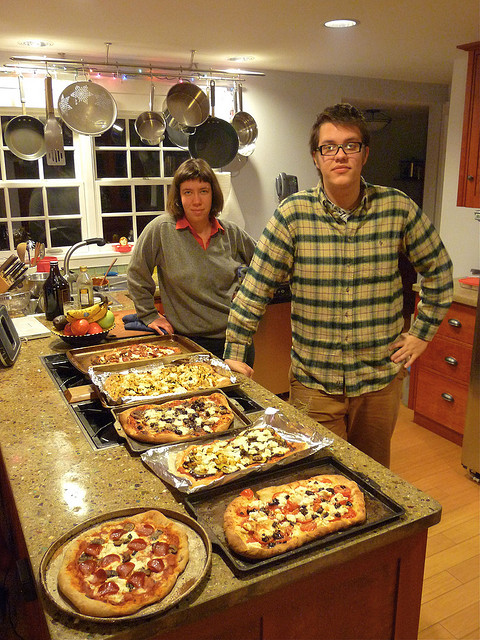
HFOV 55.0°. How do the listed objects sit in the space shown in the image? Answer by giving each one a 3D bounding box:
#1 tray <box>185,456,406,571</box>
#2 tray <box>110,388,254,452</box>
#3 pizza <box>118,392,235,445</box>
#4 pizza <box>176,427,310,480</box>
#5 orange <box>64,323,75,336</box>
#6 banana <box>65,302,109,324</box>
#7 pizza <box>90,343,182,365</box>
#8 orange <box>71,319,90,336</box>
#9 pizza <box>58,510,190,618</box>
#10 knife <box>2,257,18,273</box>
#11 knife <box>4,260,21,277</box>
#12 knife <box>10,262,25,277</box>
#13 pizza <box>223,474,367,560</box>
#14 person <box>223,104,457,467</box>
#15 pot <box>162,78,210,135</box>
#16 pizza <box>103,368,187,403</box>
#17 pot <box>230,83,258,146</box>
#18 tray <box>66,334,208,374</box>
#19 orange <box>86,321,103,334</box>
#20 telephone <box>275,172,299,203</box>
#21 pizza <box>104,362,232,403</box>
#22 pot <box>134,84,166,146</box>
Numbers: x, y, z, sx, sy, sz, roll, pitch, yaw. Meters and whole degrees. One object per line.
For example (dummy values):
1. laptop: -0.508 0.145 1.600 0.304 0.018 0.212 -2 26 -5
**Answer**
1. tray: 0.084 0.333 0.818 0.246 0.027 0.145 -7 16 -30
2. tray: -0.159 0.266 1.231 0.239 0.032 0.172 -6 16 -25
3. pizza: -0.165 0.266 1.228 0.189 0.032 0.129 -6 16 -21
4. pizza: -0.010 0.296 1.013 0.172 0.028 0.105 -10 16 -31
5. orange: -0.718 0.041 1.944 0.050 0.044 0.048 4 20 -13
6. banana: -0.659 -0.027 1.991 0.138 0.082 0.036 -20 22 -3
7. pizza: -0.401 0.133 1.795 0.235 0.026 0.124 -5 12 -28
8. orange: -0.659 0.030 1.912 0.066 0.064 0.063 1 28 -4
9. pizza: -0.173 0.358 0.690 0.168 0.026 0.230 7 9 4
10. knife: -1.395 -0.327 2.790 0.125 0.025 0.033 -44 50 -9
11. knife: -1.354 -0.298 2.729 0.131 0.031 0.025 -43 12 -24
12. knife: -1.319 -0.296 2.718 0.026 0.020 0.112 25 61 7
13. pizza: 0.098 0.346 0.822 0.171 0.021 0.096 -8 16 -24
14. person: 0.345 -0.062 1.550 0.798 1.202 0.228 -1 14 -7
15. pot: -0.432 -1.644 3.633 0.367 0.605 0.214 -7 38 -12
16. pizza: -0.324 0.210 1.484 0.160 0.028 0.104 -6 29 -29
17. pot: 0.043 -1.949 4.465 0.316 0.570 0.122 -12 18 -31
18. tray: -0.466 0.116 1.901 0.377 0.039 0.217 -9 20 -28
19. orange: -0.610 0.039 1.930 0.045 0.045 0.052 -22 49 -10
20. telephone: 0.445 -1.278 4.445 0.191 0.262 0.389 2 14 2
21. pizza: -0.229 0.203 1.509 0.245 0.036 0.152 -5 11 -21
22. pot: -0.786 -1.696 3.949 0.244 0.533 0.163 0 11 0
